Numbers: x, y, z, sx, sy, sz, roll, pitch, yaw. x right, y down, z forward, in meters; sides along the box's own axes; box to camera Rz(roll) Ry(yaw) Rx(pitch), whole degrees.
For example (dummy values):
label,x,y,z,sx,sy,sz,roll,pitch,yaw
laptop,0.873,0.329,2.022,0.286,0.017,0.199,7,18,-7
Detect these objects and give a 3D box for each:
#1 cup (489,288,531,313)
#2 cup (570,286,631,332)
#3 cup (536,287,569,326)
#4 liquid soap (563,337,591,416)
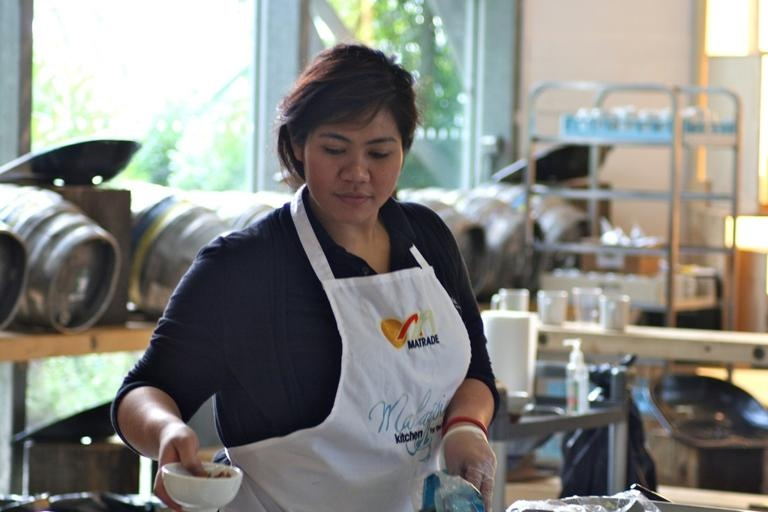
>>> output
label,x,y,z,sx,sy,sz,roll,pitch,yaw
cup,0.617,0.211,4.819,0.172,0.140,0.114,-1,1,-20
cup,1.073,0.257,4.913,0.144,0.145,0.294,-1,-4,-8
cup,0.835,0.252,4.926,0.146,0.208,0.155,1,-8,0
liquid soap,0.871,0.536,4.446,0.105,0.313,0.220,-1,-2,12
